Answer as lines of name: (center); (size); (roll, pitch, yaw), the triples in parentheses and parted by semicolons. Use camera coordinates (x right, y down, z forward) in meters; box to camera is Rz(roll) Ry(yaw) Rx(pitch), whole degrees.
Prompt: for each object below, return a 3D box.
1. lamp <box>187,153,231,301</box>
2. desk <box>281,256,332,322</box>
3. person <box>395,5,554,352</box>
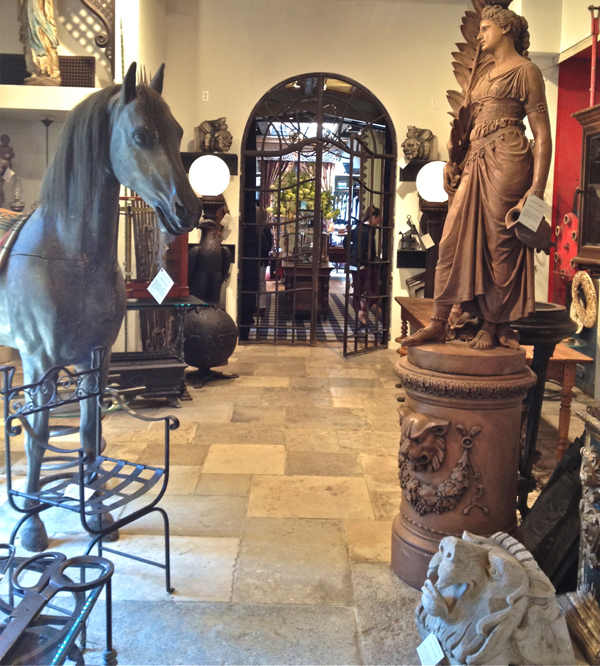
lamp: (-1.047, -1.040, 6.927); (0.573, 1.942, 0.448); (1, 6, -24)
desk: (0.148, -1.003, 9.824); (0.753, 0.933, 1.944); (1, 27, 3)
person: (0.713, -0.588, 2.295); (0.449, 1.269, 0.502); (4, 8, 22)
